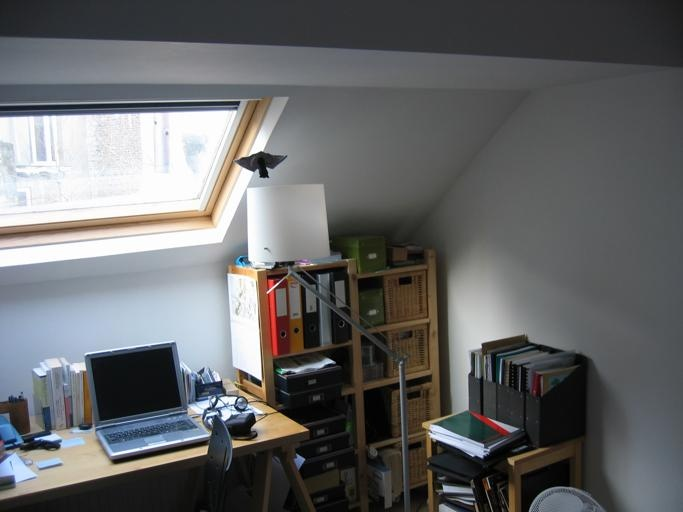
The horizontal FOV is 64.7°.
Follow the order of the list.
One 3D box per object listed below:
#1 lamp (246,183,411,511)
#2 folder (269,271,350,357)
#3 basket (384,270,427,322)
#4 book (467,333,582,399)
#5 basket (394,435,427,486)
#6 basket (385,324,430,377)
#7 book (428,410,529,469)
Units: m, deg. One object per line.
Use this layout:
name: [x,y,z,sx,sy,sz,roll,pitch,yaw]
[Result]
lamp: [-0.089,0.360,2.666,0.670,1.422,1.178,-4,0,-15]
folder: [-0.209,0.332,3.207,0.464,0.451,0.166,-10,7,-33]
basket: [0.427,0.289,3.678,0.330,0.338,0.329,-9,-3,30]
book: [0.985,0.593,3.013,0.292,0.139,0.382,-15,-3,43]
basket: [0.444,1.416,3.744,0.228,0.270,0.302,-15,-22,38]
basket: [0.488,0.659,3.800,0.297,0.289,0.178,-10,-7,7]
book: [0.740,0.982,2.865,0.297,0.076,0.313,-12,12,-37]
